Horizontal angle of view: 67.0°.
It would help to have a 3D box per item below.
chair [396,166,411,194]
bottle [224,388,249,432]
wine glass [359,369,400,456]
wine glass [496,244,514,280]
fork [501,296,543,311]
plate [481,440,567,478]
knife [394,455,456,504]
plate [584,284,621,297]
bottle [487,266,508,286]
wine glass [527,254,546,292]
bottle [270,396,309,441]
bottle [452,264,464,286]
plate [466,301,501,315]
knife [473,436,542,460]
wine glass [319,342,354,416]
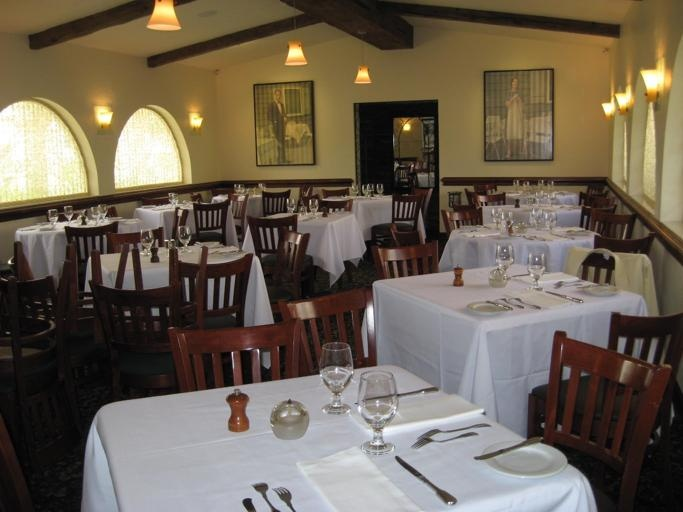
[{"bbox_3d":[1.361,-1.649,11.208,0.383,0.757,0.511,1,11,-2],"label":"chair"},{"bbox_3d":[-0.324,0.488,1.626,0.075,0.118,0.075,-2,11,0],"label":"bottle"},{"bbox_3d":[0.108,0.441,1.495,0.109,0.232,0.163,-1,11,5],"label":"wine glass"},{"bbox_3d":[1.011,0.025,3.177,0.093,0.254,0.405,1,12,17],"label":"wine glass"},{"bbox_3d":[0.936,0.251,2.695,0.054,0.011,0.196,-14,13,2],"label":"fork"},{"bbox_3d":[0.503,0.557,1.388,0.225,0.017,0.132,-5,12,-10],"label":"plate"},{"bbox_3d":[0.212,0.567,1.359,0.041,0.026,0.284,-15,18,-19],"label":"knife"},{"bbox_3d":[1.462,0.184,2.869,0.168,0.032,0.239,6,14,36],"label":"plate"},{"bbox_3d":[0.930,0.124,3.066,0.097,0.116,0.104,-3,-6,39],"label":"bottle"},{"bbox_3d":[1.141,0.068,3.006,0.088,0.227,0.301,2,12,20],"label":"wine glass"},{"bbox_3d":[-0.155,0.495,1.548,0.102,0.114,0.111,8,36,8],"label":"bottle"},{"bbox_3d":[0.713,0.120,3.089,0.055,0.111,0.104,4,13,30],"label":"bottle"},{"bbox_3d":[0.743,0.266,2.612,0.180,0.023,0.169,-10,14,-34],"label":"plate"},{"bbox_3d":[0.470,0.545,1.448,0.184,0.010,0.026,-7,18,-37],"label":"knife"},{"bbox_3d":[-0.017,0.396,1.759,0.105,0.228,0.236,-2,11,-1],"label":"wine glass"}]
